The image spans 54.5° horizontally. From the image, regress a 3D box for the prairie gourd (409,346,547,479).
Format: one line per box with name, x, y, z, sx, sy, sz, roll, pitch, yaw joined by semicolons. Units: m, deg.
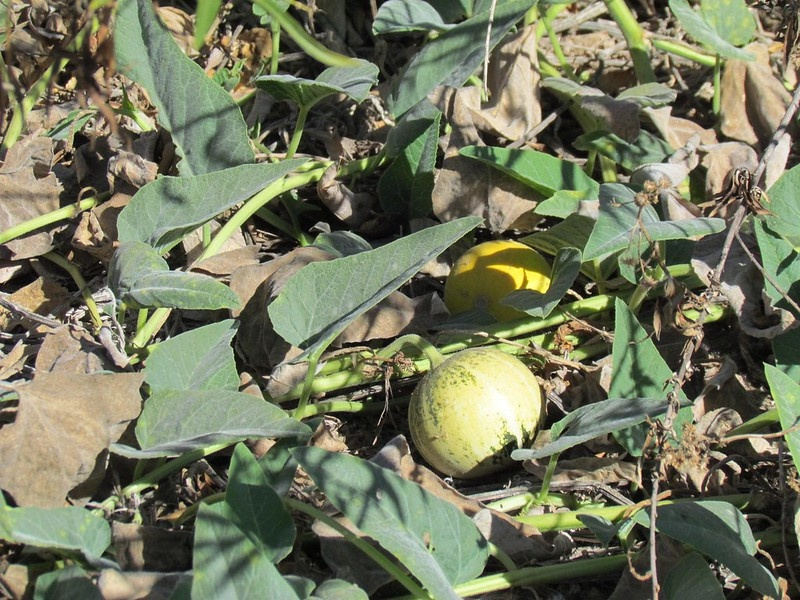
prairie gourd;0.165;0.206;1.713;0.272;0.254;0.494;3;23;8
